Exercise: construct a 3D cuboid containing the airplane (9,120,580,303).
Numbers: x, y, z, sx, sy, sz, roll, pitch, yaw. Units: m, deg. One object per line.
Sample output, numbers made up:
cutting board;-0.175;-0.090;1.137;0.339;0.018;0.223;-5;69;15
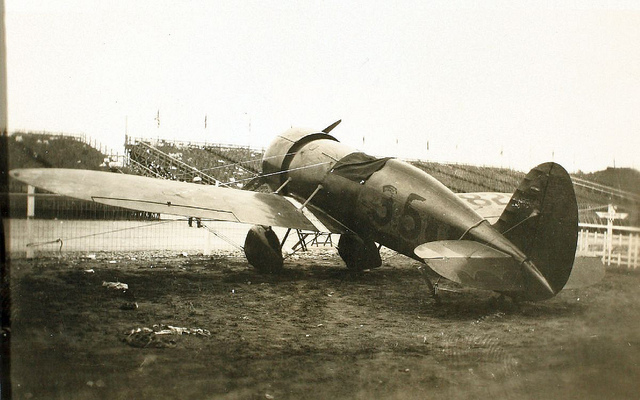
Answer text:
airplane;0.482;0.000;13.839;8.237;2.917;4.058;5;2;4
